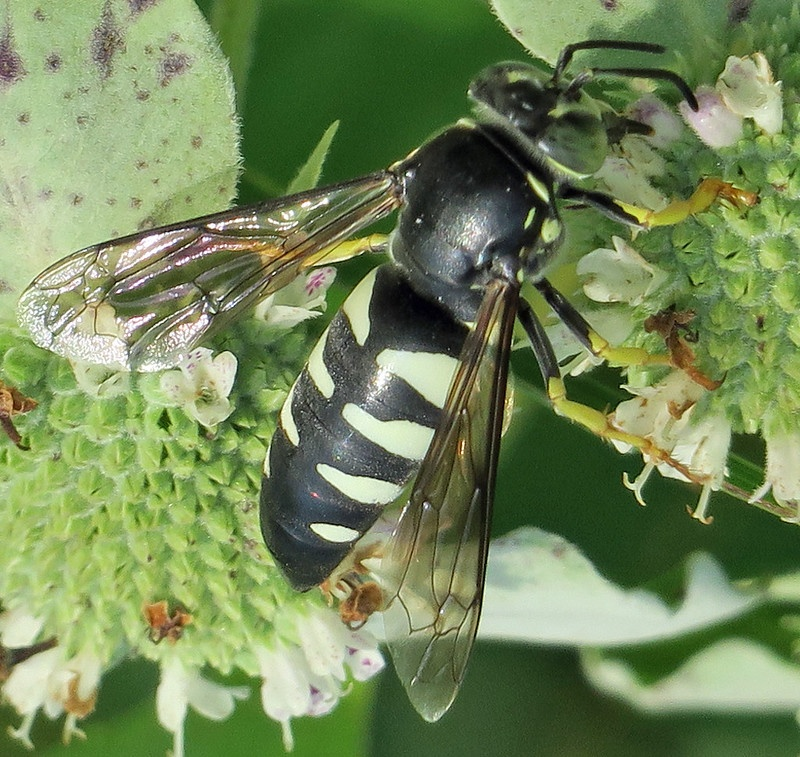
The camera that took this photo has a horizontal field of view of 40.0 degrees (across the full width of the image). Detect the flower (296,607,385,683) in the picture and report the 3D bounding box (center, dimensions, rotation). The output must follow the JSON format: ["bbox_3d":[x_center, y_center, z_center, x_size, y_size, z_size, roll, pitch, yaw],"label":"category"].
[{"bbox_3d":[-0.099,0.445,1.741,0.139,0.037,0.123,-8,52,-21],"label":"flower"}]

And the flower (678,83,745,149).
[{"bbox_3d":[0.425,-0.353,1.493,0.086,0.080,0.025,-10,23,42],"label":"flower"}]
